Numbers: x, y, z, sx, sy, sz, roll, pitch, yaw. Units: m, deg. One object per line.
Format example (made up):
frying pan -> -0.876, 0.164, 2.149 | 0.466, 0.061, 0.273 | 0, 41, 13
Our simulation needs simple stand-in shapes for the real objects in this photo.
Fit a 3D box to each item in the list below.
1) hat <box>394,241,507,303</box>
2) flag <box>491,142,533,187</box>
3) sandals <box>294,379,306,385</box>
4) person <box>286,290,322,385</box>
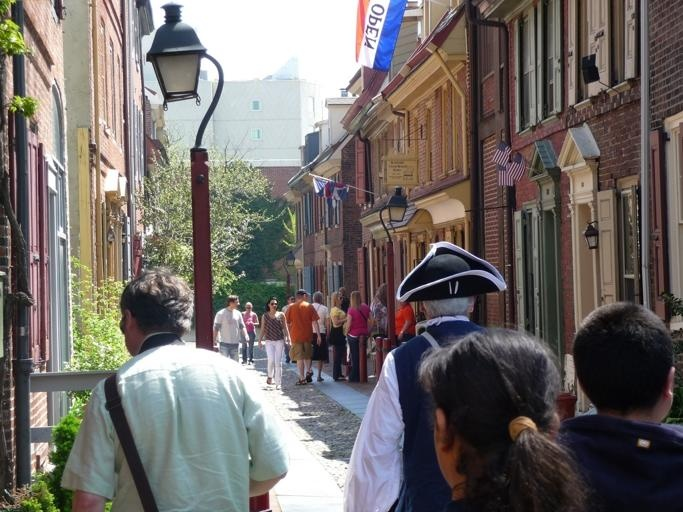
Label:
hat -> 0.712, 0.129, 6.706 | 0.587, 0.273, 0.782 | -1, 12, 31
flag -> 2.455, -1.312, 15.198 | 0.616, 1.041, 0.290 | 1, -19, 17
sandals -> -0.760, 2.324, 19.457 | 0.088, 0.109, 0.246 | 2, 0, -28
person -> -0.701, 1.424, 19.113 | 0.542, 1.680, 0.469 | -4, -4, 7
